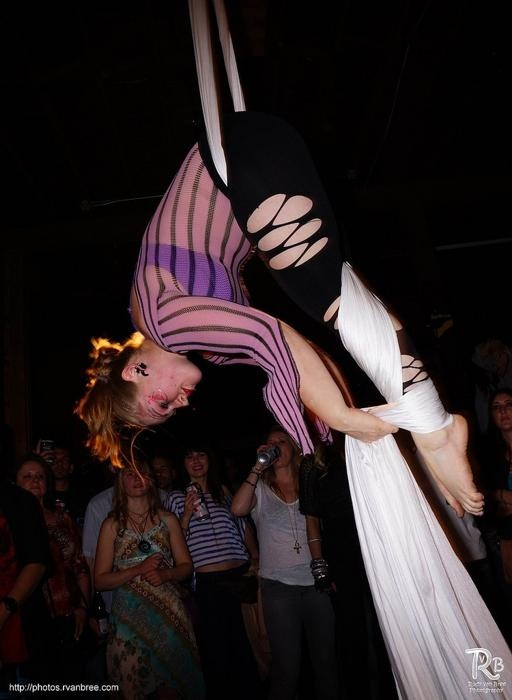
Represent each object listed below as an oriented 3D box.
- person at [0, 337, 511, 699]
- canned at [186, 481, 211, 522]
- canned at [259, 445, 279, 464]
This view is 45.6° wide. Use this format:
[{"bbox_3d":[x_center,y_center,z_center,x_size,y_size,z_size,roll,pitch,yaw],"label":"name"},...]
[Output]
[{"bbox_3d":[0.038,0.442,1.977,1.266,1.348,0.366,-22,-16,35],"label":"person"},{"bbox_3d":[-0.323,0.827,3.317,0.073,0.169,0.055,-20,-56,-14],"label":"canned"},{"bbox_3d":[0.064,0.548,3.267,0.099,0.089,0.152,10,7,14],"label":"canned"}]
